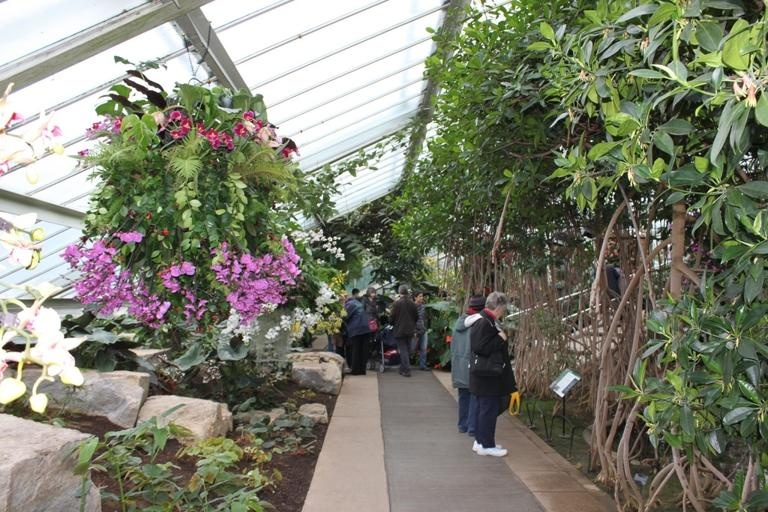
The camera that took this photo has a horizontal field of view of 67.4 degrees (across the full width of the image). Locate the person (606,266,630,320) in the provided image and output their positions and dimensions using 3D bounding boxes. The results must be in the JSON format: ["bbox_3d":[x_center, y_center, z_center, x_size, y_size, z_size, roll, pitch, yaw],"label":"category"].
[{"bbox_3d":[2.341,0.310,5.812,0.192,0.515,1.325,1,-2,21],"label":"person"}]

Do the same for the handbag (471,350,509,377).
[{"bbox_3d":[0.940,0.893,5.213,0.311,0.367,0.197,3,-33,9],"label":"handbag"}]

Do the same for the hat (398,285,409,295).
[{"bbox_3d":[0.330,0.548,9.357,0.128,0.167,0.160,10,25,-8],"label":"hat"}]

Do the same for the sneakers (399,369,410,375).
[{"bbox_3d":[0.352,1.957,9.660,0.073,0.094,0.219,1,-8,-16],"label":"sneakers"}]

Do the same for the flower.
[{"bbox_3d":[-1.268,-0.378,3.853,1.503,1.848,0.691,1,0,-30],"label":"flower"}]

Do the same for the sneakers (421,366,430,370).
[{"bbox_3d":[0.745,2.027,10.406,0.179,0.133,0.061,0,0,7],"label":"sneakers"}]

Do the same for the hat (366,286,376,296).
[{"bbox_3d":[-0.240,0.644,10.592,0.120,0.168,0.166,-2,4,4],"label":"hat"}]

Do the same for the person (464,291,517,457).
[{"bbox_3d":[0.997,1.065,5.253,0.415,1.482,0.261,1,0,5],"label":"person"}]

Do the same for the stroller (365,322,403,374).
[{"bbox_3d":[0.098,1.596,10.673,0.728,1.110,0.899,-3,3,-14],"label":"stroller"}]

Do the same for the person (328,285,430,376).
[{"bbox_3d":[-0.088,1.334,9.707,1.387,1.721,0.729,-1,-15,1],"label":"person"}]

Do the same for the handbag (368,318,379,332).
[{"bbox_3d":[-0.198,1.186,9.953,0.119,0.231,0.234,-11,-16,33],"label":"handbag"}]

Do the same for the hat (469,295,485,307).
[{"bbox_3d":[0.968,0.466,5.969,0.142,0.071,0.197,-8,-4,6],"label":"hat"}]
